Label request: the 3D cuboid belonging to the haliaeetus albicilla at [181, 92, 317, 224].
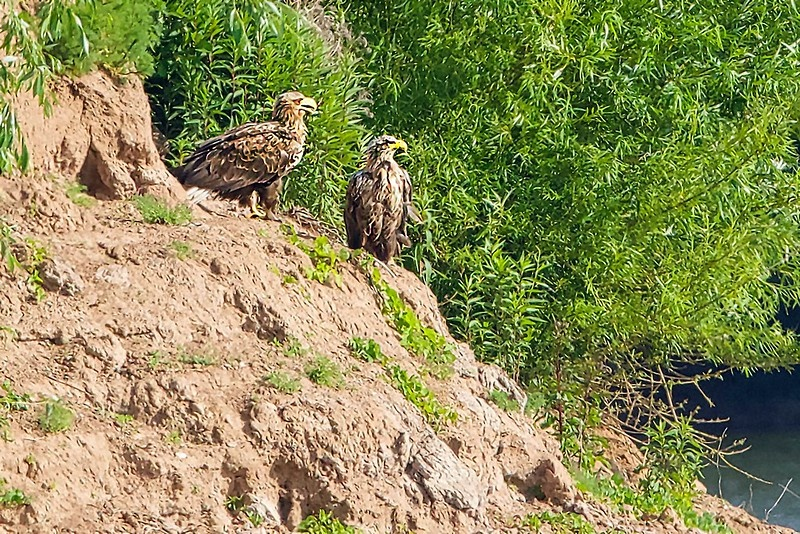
[{"bbox_3d":[-1.452,-1.052,13.004,1.436,1.140,0.788,-2,10,-21],"label":"haliaeetus albicilla"}]
